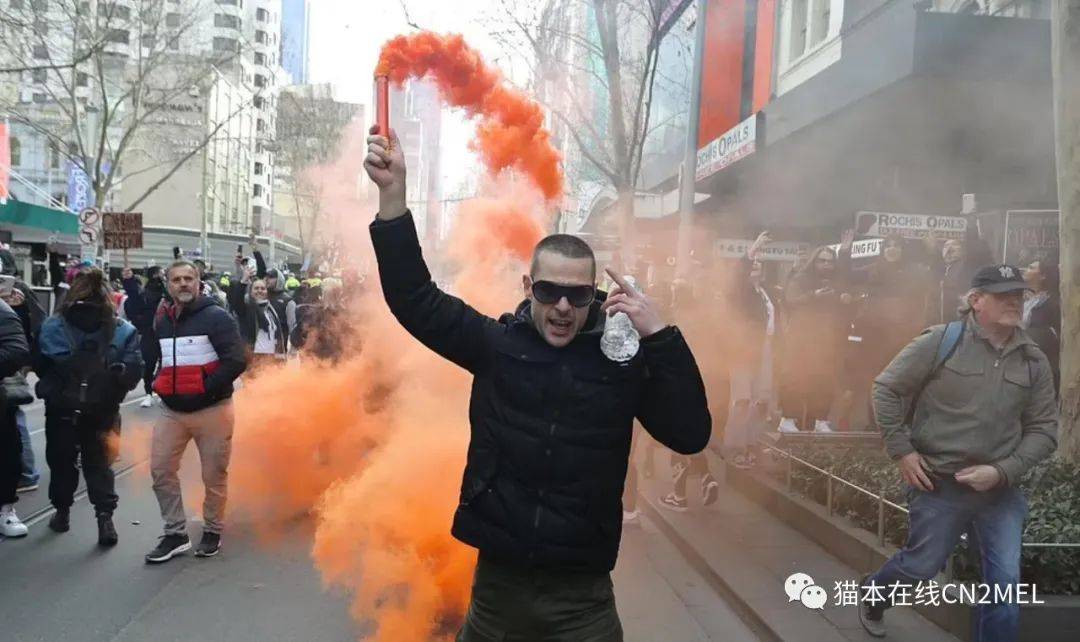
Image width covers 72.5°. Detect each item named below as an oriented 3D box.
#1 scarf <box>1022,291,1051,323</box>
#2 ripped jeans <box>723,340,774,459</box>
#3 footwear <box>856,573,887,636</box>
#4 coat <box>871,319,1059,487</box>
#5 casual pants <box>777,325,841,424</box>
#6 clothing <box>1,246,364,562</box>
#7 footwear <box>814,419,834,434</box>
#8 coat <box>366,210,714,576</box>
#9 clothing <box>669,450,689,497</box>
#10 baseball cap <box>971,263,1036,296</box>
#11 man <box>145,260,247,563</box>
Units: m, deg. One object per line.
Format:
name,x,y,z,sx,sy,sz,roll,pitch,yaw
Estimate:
scarf,5.992,-0.157,8.775,0.240,0.373,0.146,5,4,4
ripped jeans,2.954,1.210,10.143,0.571,1.970,0.750,10,9,10
footwear,2.982,2.551,6.589,0.186,0.578,0.240,0,16,13
coat,3.685,0.634,6.356,1.609,1.328,0.976,10,9,-3
casual pants,4.218,0.874,11.281,1.309,1.351,0.329,1,18,5
clothing,-4.194,1.072,8.679,3.383,4.742,1.797,-1,-7,-2
footwear,4.286,1.584,10.996,0.187,0.177,0.189,6,-11,-10
coat,0.063,0.467,4.870,2.146,2.294,0.732,-1,14,-5
clothing,1.775,1.947,9.275,0.276,0.176,0.704,3,24,13
baseball cap,3.826,-0.339,6.077,0.255,0.173,0.334,2,-11,-8
man,-3.686,0.957,7.954,1.107,3.104,1.004,-2,-6,-1
